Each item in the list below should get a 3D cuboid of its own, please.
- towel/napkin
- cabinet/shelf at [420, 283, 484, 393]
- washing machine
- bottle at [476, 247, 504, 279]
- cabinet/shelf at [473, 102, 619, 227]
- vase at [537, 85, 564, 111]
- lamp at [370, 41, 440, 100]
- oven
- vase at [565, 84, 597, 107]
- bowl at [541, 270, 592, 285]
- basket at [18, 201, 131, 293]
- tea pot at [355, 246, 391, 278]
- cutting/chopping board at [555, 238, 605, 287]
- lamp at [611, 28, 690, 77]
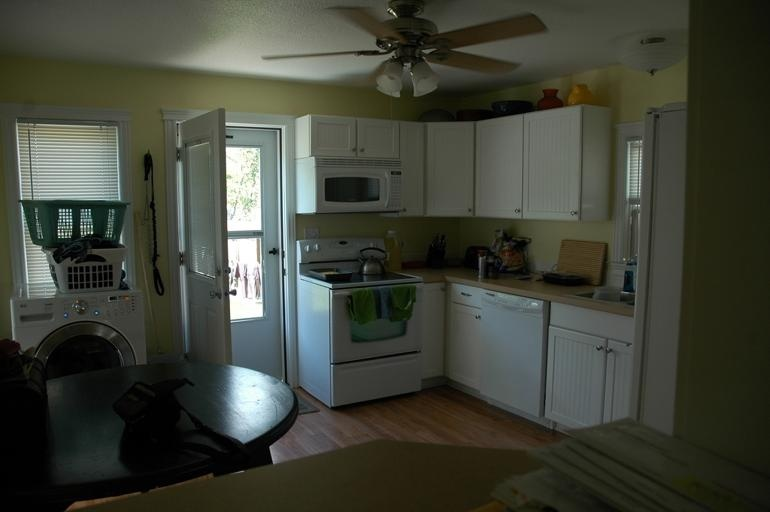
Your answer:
[{"bbox_3d":[-0.051,0.409,4.165,0.472,0.297,0.109,-6,9,-33],"label":"towel/napkin"},{"bbox_3d":[0.514,0.620,4.367,0.255,0.796,0.459,-6,13,-30],"label":"cabinet/shelf"},{"bbox_3d":[-1.900,0.342,3.468,0.733,0.482,0.500,-3,5,-30],"label":"washing machine"},{"bbox_3d":[0.805,0.061,4.539,0.264,0.250,0.186,-2,6,-35],"label":"bottle"},{"bbox_3d":[1.211,-0.707,4.380,0.372,0.819,1.046,-8,10,-34],"label":"cabinet/shelf"},{"bbox_3d":[1.222,-1.171,4.208,0.215,0.190,0.207,1,0,-4],"label":"vase"},{"bbox_3d":[0.134,-1.008,2.871,0.282,0.285,0.219,-1,9,8],"label":"lamp"},{"bbox_3d":[-0.211,0.648,4.551,0.907,0.877,0.810,-2,1,-23],"label":"oven"},{"bbox_3d":[1.393,-1.156,4.029,0.216,0.191,0.208,-4,8,-7],"label":"vase"},{"bbox_3d":[1.360,0.163,4.113,0.309,0.070,0.216,-1,11,-8],"label":"bowl"},{"bbox_3d":[-1.919,-0.076,3.504,0.581,0.569,0.368,-4,12,-24],"label":"basket"},{"bbox_3d":[-0.069,0.039,4.575,0.271,0.219,0.209,-2,8,-25],"label":"tea pot"},{"bbox_3d":[1.486,0.022,4.244,0.046,0.292,0.409,3,7,-31],"label":"cutting/chopping board"},{"bbox_3d":[1.529,-1.186,3.179,0.391,0.176,0.360,0,-1,-1],"label":"lamp"}]
